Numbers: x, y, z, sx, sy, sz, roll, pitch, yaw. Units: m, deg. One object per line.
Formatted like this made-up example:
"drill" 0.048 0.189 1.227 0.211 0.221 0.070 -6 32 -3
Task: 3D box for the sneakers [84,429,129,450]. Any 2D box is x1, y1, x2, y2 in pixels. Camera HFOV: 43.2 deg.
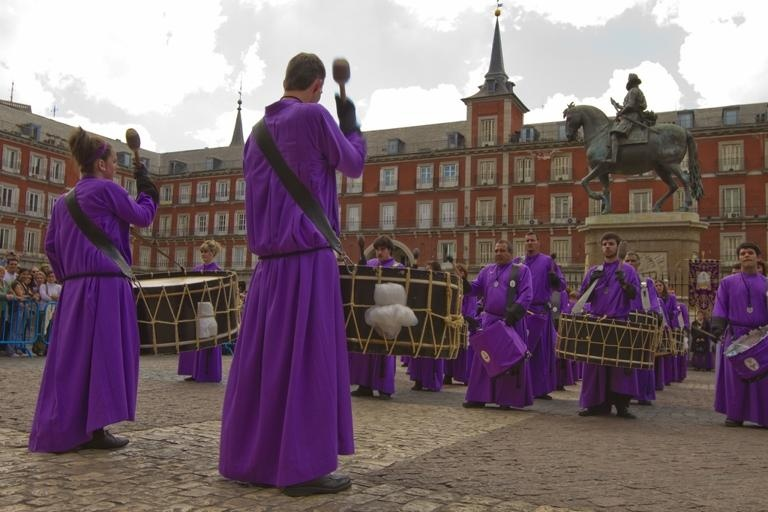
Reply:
"sneakers" -3.406 2.240 11.890 0.532 0.242 0.243 1 -6 -18

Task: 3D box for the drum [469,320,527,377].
"drum" 1.789 1.444 15.195 0.862 0.852 0.291 -43 -13 19

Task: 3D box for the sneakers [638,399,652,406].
"sneakers" 4.605 2.593 17.101 0.112 0.146 0.334 2 -16 -15

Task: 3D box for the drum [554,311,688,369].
"drum" 3.648 1.348 15.342 1.669 0.694 1.490 4 -4 -3

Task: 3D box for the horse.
"horse" 5.897 -2.404 23.164 3.122 2.969 1.140 -4 -7 34

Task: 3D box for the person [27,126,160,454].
"person" -3.623 0.383 12.111 1.354 4.022 0.594 1 -6 -15

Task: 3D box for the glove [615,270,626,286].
"glove" 3.767 0.353 15.458 0.086 0.225 0.159 -15 -5 -1

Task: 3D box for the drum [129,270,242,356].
"drum" -3.128 0.945 14.834 1.573 0.751 1.616 -6 4 0

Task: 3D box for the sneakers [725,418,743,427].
"sneakers" 5.340 2.551 14.834 0.266 0.103 0.267 -2 -6 17

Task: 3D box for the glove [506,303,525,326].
"glove" 2.065 0.916 15.317 0.283 0.335 0.175 33 17 22

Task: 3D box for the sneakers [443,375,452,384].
"sneakers" 1.341 2.597 20.280 0.163 0.160 0.155 -1 -14 -3

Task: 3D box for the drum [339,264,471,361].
"drum" 0.259 0.731 12.617 1.361 0.642 1.238 1 -7 0
